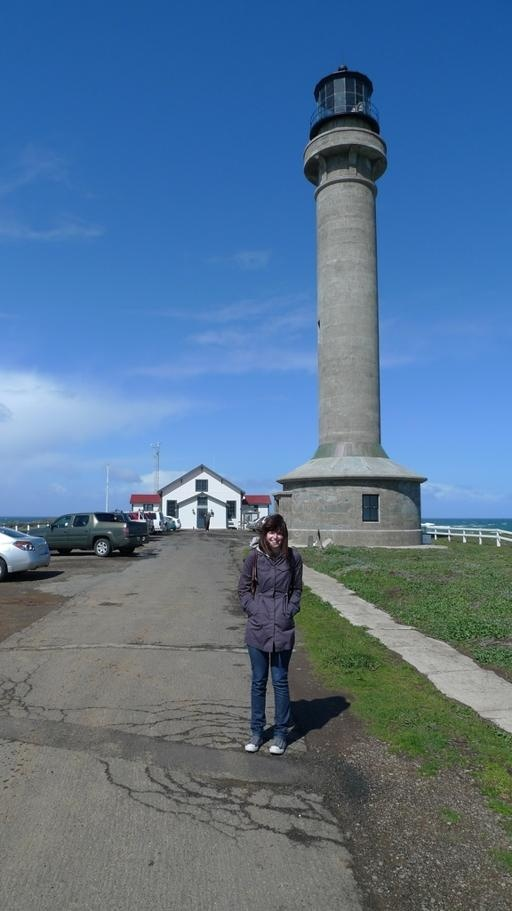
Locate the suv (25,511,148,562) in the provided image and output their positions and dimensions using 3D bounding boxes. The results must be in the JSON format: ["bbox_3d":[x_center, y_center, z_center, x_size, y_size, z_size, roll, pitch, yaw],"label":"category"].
[{"bbox_3d":[-5.752,2.824,23.294,3.343,1.485,1.199,0,-4,10],"label":"suv"}]

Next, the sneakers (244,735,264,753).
[{"bbox_3d":[-0.014,2.101,4.792,0.060,0.081,0.183,2,-7,7],"label":"sneakers"}]

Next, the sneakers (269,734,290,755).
[{"bbox_3d":[0.160,2.118,4.858,0.143,0.115,0.358,0,-4,3],"label":"sneakers"}]

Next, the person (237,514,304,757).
[{"bbox_3d":[0.106,1.325,5.023,0.475,1.723,0.592,0,-3,0],"label":"person"}]
